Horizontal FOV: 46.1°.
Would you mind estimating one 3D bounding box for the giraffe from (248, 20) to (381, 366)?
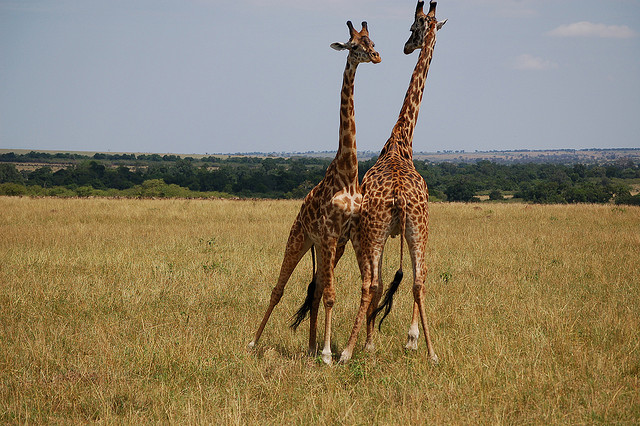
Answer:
[{"bbox_3d":[0.232,-0.473,16.879,2.348,6.427,1.288,5,2,-2],"label":"giraffe"}]
